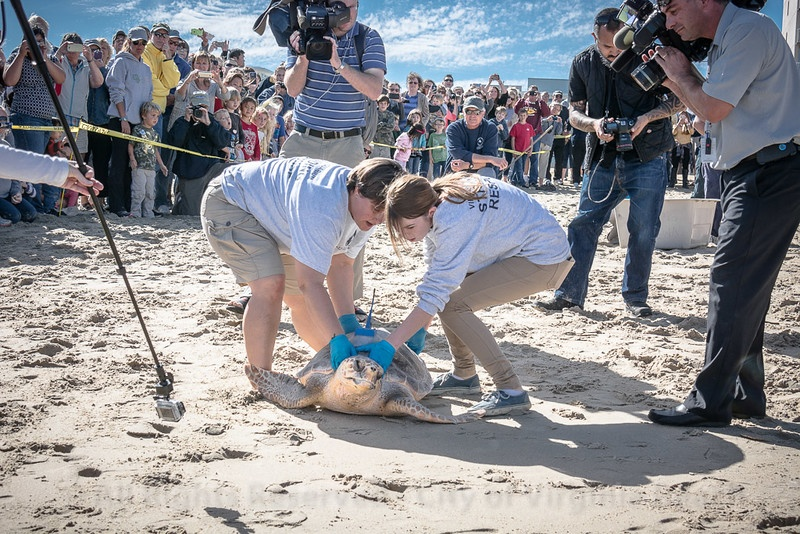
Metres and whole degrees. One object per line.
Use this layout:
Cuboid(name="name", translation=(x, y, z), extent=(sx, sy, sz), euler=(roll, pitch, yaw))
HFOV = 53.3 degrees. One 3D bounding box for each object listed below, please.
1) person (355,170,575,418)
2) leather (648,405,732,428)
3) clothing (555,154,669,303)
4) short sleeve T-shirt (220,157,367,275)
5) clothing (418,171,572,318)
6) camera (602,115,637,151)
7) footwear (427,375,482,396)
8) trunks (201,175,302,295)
Cuboid(name="person", translation=(0.465, 0.174, 5.749), extent=(1.798, 1.587, 1.003), euler=(0, 2, -20))
Cuboid(name="leather", translation=(1.915, 0.996, 5.280), extent=(0.506, 0.177, 0.176), euler=(3, -3, 11))
Cuboid(name="clothing", translation=(1.940, -0.441, 7.477), extent=(0.911, 1.674, 0.427), euler=(6, -4, 21))
Cuboid(name="short sleeve T-shirt", translation=(-0.827, -0.444, 5.535), extent=(1.090, 0.494, 0.685), euler=(18, 26, 26))
Cuboid(name="clothing", translation=(0.663, -0.185, 5.537), extent=(1.107, 0.734, 0.895), euler=(-8, 8, 8))
Cuboid(name="camera", translation=(1.935, -1.180, 6.994), extent=(0.277, 0.264, 0.134), euler=(-4, 5, 1))
Cuboid(name="footwear", translation=(0.416, 0.880, 5.982), extent=(0.406, 0.128, 0.153), euler=(0, -3, 3))
Cuboid(name="trunks", translation=(-1.095, -0.225, 5.657), extent=(0.269, 0.841, 0.535), euler=(-25, 9, 47))
